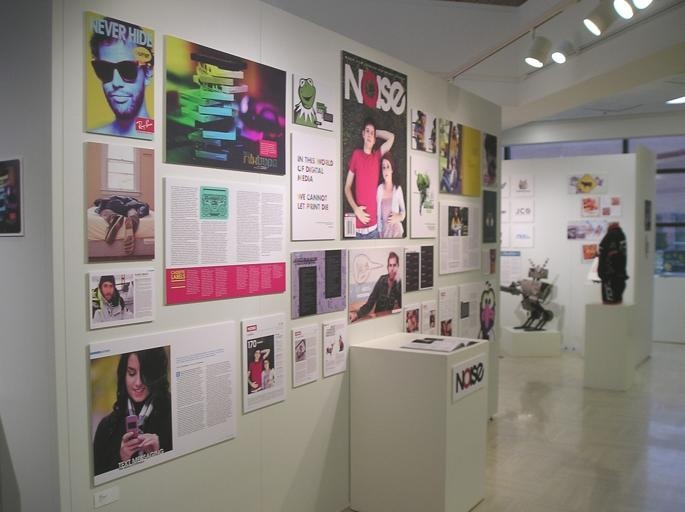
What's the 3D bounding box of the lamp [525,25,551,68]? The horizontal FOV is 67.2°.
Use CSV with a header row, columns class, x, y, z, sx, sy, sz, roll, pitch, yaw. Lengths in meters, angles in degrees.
class,x,y,z,sx,sy,sz,roll,pitch,yaw
lamp,2.260,-2.390,5.936,0.276,0.367,0.181,-3,4,-42
